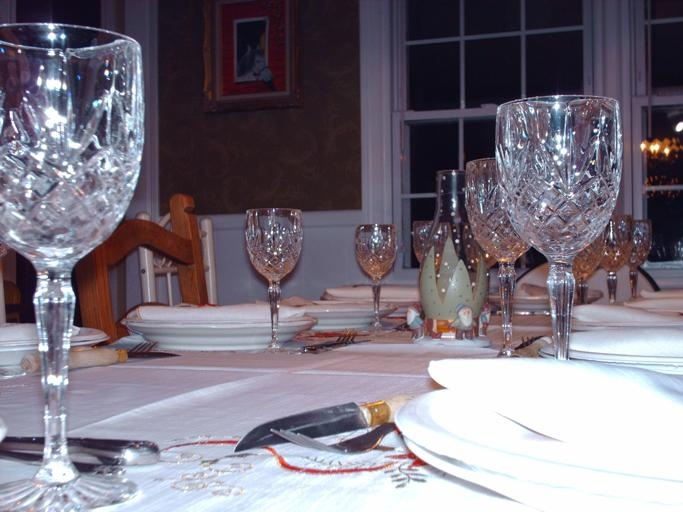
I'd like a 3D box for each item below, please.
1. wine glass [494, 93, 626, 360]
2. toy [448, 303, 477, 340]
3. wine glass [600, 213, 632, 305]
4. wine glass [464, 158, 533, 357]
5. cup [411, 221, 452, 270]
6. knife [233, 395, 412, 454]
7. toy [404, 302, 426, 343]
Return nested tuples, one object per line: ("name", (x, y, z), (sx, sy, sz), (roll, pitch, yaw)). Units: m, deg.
("wine glass", (0.225, 0.010, 0.578), (0.095, 0.236, 0.092), (4, 5, 15))
("toy", (0.194, 0.106, 0.913), (0.049, 0.060, 0.048), (2, -3, -13))
("wine glass", (0.805, 0.028, 1.699), (0.097, 0.307, 0.099), (-1, 20, 21))
("wine glass", (0.255, 0.014, 0.897), (0.114, 0.311, 0.117), (-3, 5, 21))
("cup", (0.229, -0.029, 1.614), (0.121, 0.145, 0.123), (0, -3, 0))
("knife", (-0.006, 0.100, 0.420), (0.037, 0.026, 0.187), (3, 1, 30))
("toy", (0.122, 0.118, 0.962), (0.023, 0.048, 0.036), (0, -13, 1))
